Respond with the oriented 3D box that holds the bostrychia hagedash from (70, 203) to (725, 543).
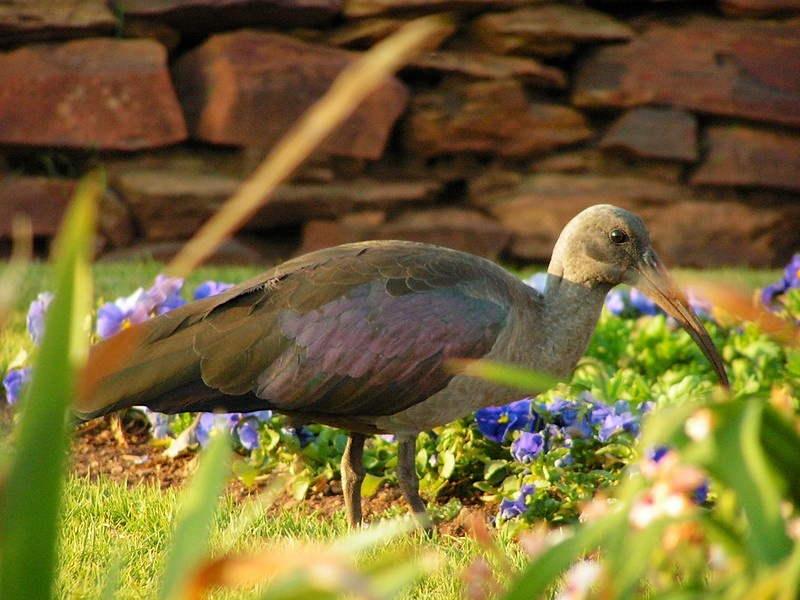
[{"bbox_3d":[-0.063,0.333,6.296,3.234,1.568,0.881,3,5,10],"label":"bostrychia hagedash"}]
